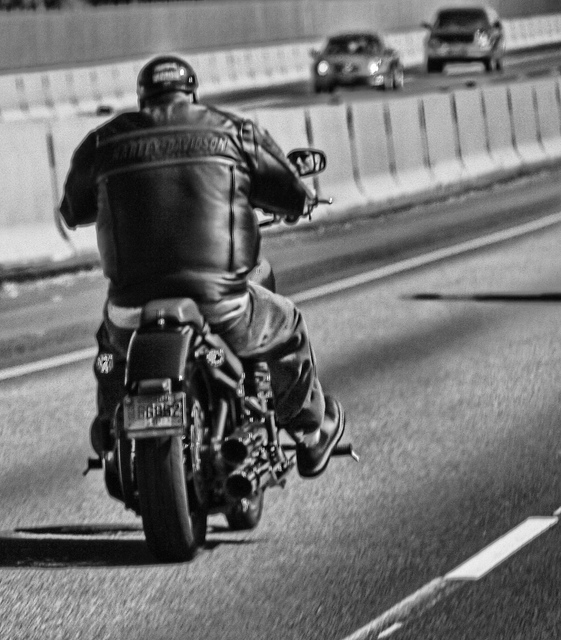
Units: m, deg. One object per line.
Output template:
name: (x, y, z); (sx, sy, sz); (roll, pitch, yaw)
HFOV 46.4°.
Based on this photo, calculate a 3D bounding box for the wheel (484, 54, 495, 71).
wheel: (6.832, -8.354, 21.351); (0.286, 0.424, 0.488); (5, 10, 37)

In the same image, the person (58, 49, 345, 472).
person: (-0.334, -0.209, 2.911); (0.680, 1.793, 1.731); (-5, 3, 6)

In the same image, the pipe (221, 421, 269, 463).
pipe: (-0.136, 0.451, 2.401); (0.062, 0.074, 0.225); (36, 3, 8)

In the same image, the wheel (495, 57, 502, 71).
wheel: (7.238, -8.464, 21.771); (0.101, 0.399, 0.663); (3, 10, 30)

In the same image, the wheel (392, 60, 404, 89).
wheel: (3.567, -7.499, 20.031); (0.088, 0.936, 0.861); (3, 9, 27)

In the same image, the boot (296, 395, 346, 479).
boot: (0.225, 0.538, 3.392); (0.154, 0.304, 0.516); (1, 54, 25)

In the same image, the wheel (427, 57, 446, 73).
wheel: (5.293, -8.665, 22.342); (0.582, 0.338, 1.068); (1, 10, 13)

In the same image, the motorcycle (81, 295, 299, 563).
motorcycle: (-0.286, 0.285, 2.618); (0.505, 1.052, 1.361); (0, -2, 11)

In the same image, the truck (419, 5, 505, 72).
truck: (6.002, -8.981, 21.503); (1.612, 1.632, 3.096); (1, 24, 10)

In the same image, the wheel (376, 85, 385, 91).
wheel: (2.981, -6.865, 19.442); (0.089, 0.133, 0.176); (1, 8, 10)
